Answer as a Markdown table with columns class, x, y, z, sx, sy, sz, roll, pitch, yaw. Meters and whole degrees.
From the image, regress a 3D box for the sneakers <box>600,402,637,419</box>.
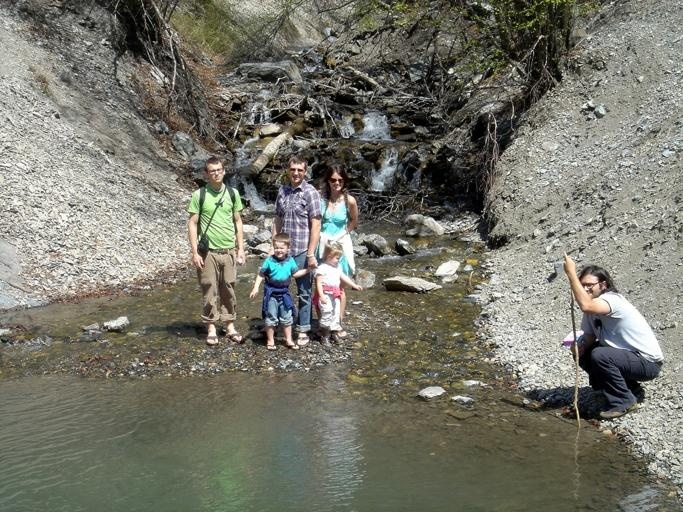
| class | x | y | z | sx | sy | sz | roll | pitch | yaw |
| --- | --- | --- | --- | --- | --- | --- | --- | --- | --- |
| sneakers | 2.750 | 1.566 | 5.612 | 0.453 | 0.138 | 0.121 | -5 | 92 | -1 |

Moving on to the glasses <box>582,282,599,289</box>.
| class | x | y | z | sx | sy | sz | roll | pitch | yaw |
| --- | --- | --- | --- | --- | --- | --- | --- | --- | --- |
| glasses | 2.465 | 0.291 | 5.479 | 0.137 | 0.059 | 0.053 | 3 | 77 | -1 |
